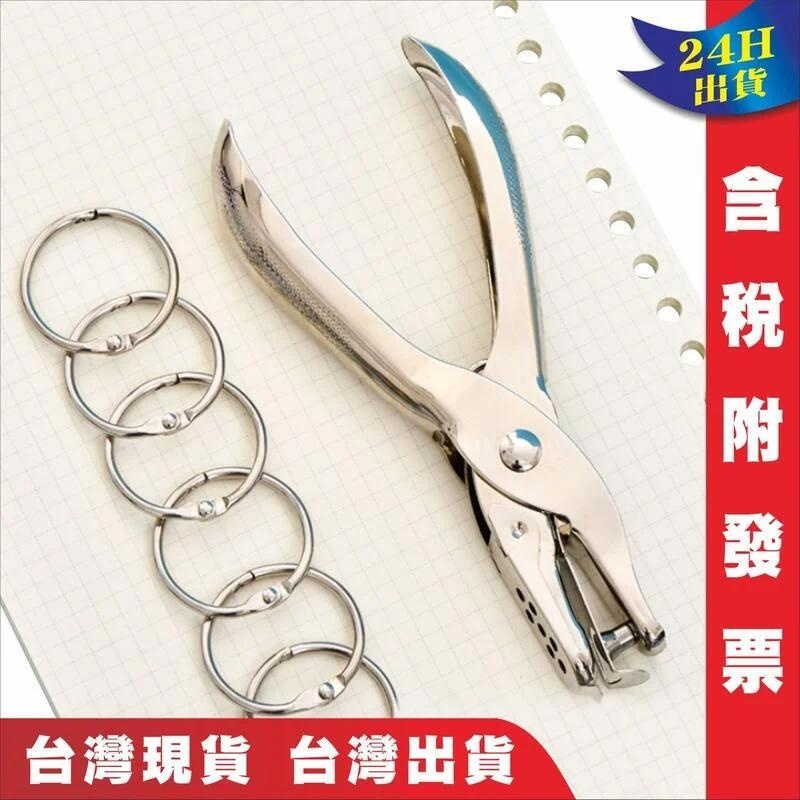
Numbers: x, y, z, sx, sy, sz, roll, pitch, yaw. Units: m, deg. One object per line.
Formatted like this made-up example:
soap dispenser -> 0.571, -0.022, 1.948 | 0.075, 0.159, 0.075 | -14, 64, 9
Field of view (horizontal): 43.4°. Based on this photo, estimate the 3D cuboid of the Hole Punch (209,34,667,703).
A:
Hole Punch -> 0.017, -0.038, 0.833 | 0.259, 0.590, 0.109 | -11, -20, -19
